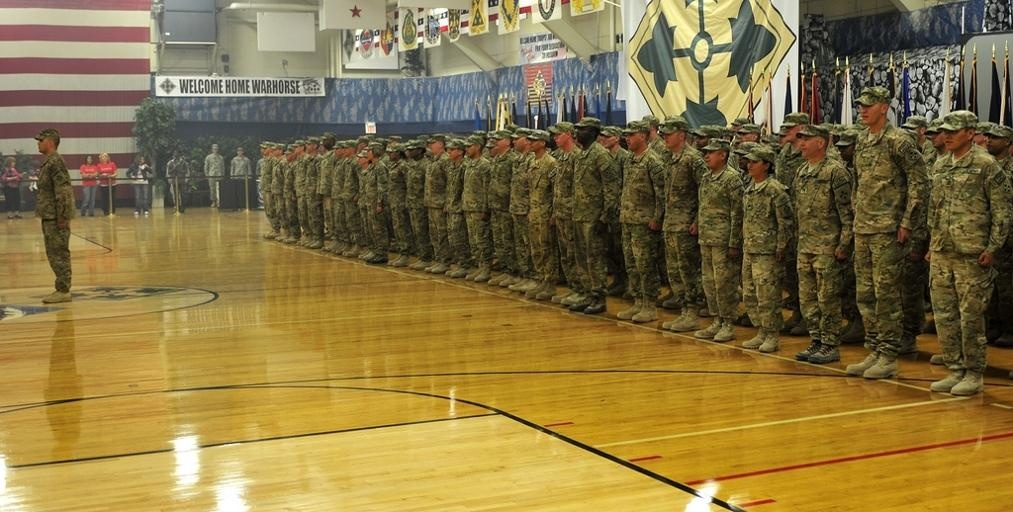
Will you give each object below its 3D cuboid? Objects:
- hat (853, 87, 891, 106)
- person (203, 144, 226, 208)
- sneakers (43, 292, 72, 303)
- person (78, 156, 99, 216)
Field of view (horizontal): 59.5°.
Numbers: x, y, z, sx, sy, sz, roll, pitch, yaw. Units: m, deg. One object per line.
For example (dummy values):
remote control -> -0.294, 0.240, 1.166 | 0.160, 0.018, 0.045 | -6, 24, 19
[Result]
hat -> 4.565, -1.994, 11.027 | 0.313, 0.240, 0.465 | 3, 10, 25
person -> -10.478, -2.832, 31.813 | 0.825, 2.224, 0.571 | 8, 14, 43
sneakers -> -7.663, 0.721, 15.048 | 0.415, 0.126, 0.163 | 2, -2, -34
person -> -14.363, -2.390, 30.350 | 0.652, 1.975, 1.068 | -6, 11, -23
